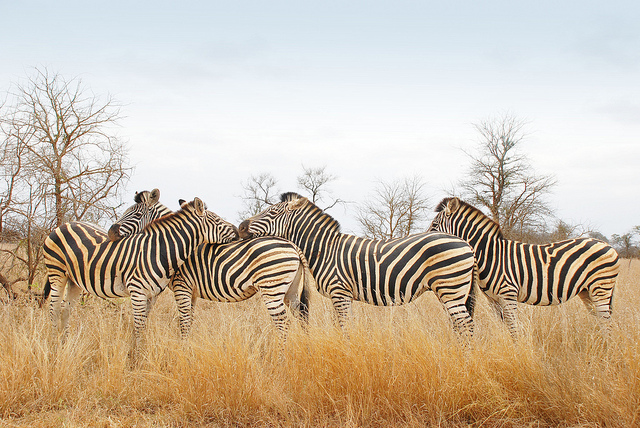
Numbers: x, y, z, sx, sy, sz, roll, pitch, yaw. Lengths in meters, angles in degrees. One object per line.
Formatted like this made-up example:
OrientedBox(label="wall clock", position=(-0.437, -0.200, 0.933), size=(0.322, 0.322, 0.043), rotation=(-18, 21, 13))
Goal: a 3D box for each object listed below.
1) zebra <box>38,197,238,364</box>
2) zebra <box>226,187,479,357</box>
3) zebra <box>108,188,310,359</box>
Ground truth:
OrientedBox(label="zebra", position=(-2.974, 1.079, 10.186), size=(3.277, 2.709, 1.013), rotation=(2, 16, -3))
OrientedBox(label="zebra", position=(0.598, 1.107, 10.019), size=(3.831, 2.742, 0.967), rotation=(0, 9, 10))
OrientedBox(label="zebra", position=(-1.749, 0.948, 10.088), size=(3.158, 2.355, 0.904), rotation=(6, -8, 4))
